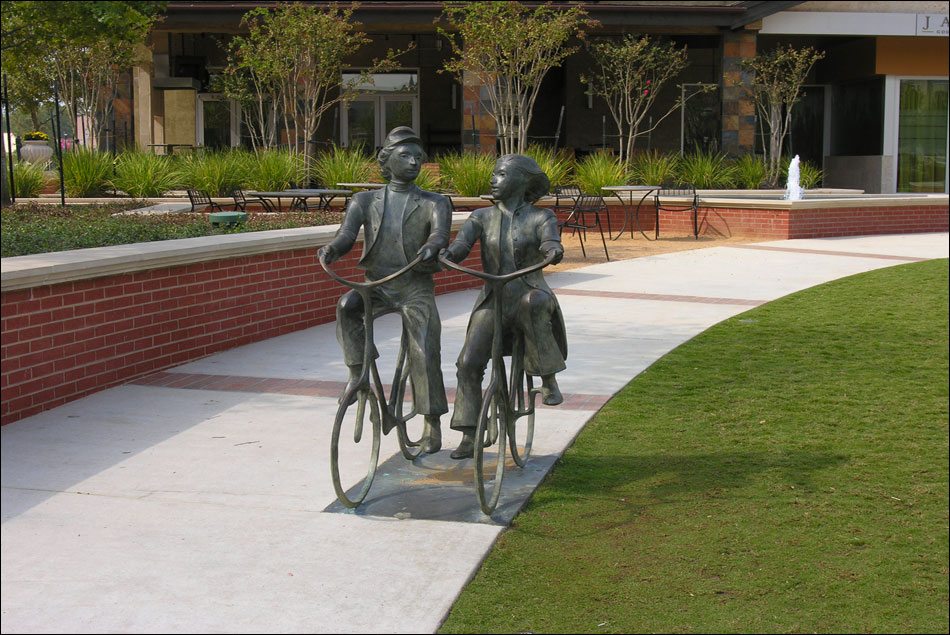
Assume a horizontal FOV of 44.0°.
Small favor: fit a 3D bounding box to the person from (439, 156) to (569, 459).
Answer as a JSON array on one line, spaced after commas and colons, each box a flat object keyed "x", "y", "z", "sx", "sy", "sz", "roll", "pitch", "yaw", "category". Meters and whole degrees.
[{"x": 0.232, "y": -0.044, "z": 8.490, "sx": 0.914, "sy": 2.231, "sz": 0.610, "roll": -2, "pitch": 8, "yaw": -6, "category": "person"}]

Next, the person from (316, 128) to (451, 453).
[{"x": -0.582, "y": -0.182, "z": 8.528, "sx": 0.802, "sy": 2.364, "sz": 0.568, "roll": 0, "pitch": 8, "yaw": 5, "category": "person"}]
